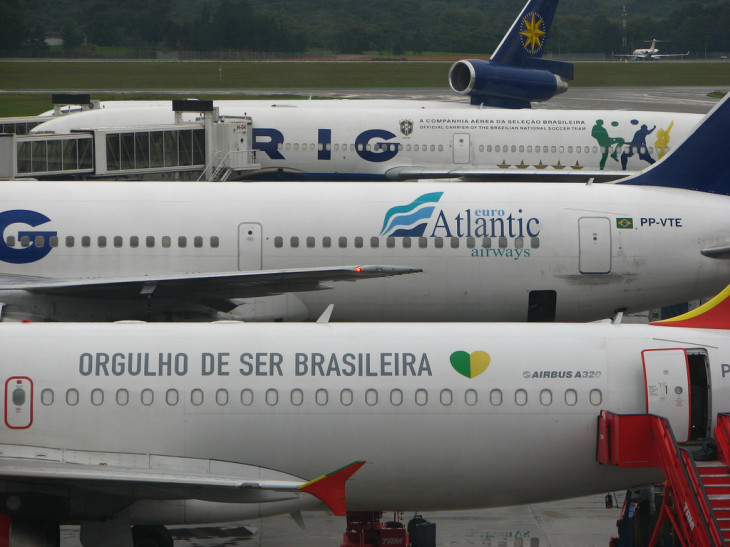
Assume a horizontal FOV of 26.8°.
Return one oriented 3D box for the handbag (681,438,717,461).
[{"bbox_3d":[10.714,5.584,49.350,0.907,0.620,0.316,0,100,-8],"label":"handbag"}]
